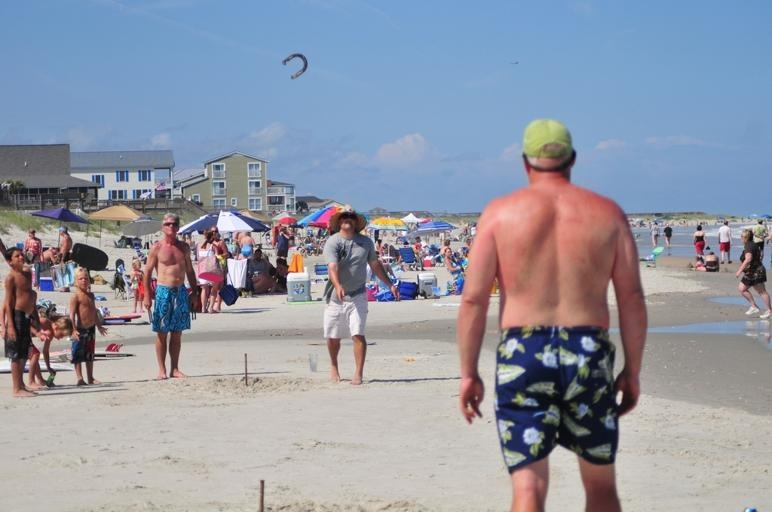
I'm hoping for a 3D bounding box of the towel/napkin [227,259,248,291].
[{"bbox_3d":[-3.583,0.412,33.496,0.646,0.791,0.632,0,-1,-8],"label":"towel/napkin"}]

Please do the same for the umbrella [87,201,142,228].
[{"bbox_3d":[-12.154,-1.861,61.856,2.070,0.800,2.026,0,1,1],"label":"umbrella"}]

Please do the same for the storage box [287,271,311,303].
[{"bbox_3d":[-1.964,0.750,32.562,0.691,0.657,0.511,0,0,0],"label":"storage box"}]

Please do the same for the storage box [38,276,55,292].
[{"bbox_3d":[-8.501,0.734,34.755,0.350,0.315,0.350,0,1,22],"label":"storage box"}]

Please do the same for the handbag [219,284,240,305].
[{"bbox_3d":[-3.419,0.859,30.094,0.313,0.413,0.378,-36,11,-37],"label":"handbag"}]

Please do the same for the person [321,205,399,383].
[{"bbox_3d":[-0.489,0.586,21.176,0.869,2.703,0.729,0,12,-1],"label":"person"}]

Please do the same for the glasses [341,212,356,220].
[{"bbox_3d":[-0.557,-0.620,20.960,0.170,0.046,0.171,1,-25,-4],"label":"glasses"}]

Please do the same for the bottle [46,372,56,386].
[{"bbox_3d":[-5.123,1.906,21.161,0.121,0.226,0.077,25,10,3],"label":"bottle"}]
